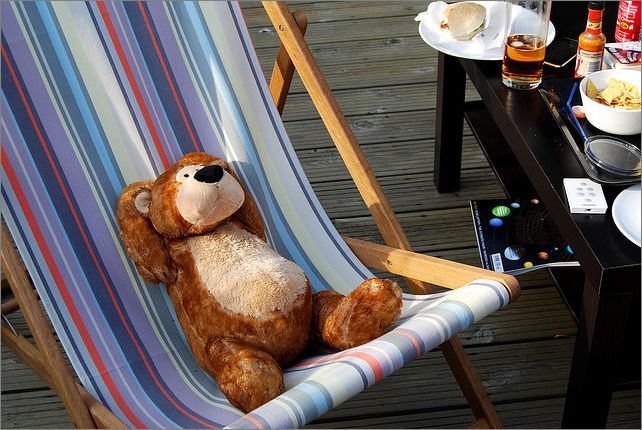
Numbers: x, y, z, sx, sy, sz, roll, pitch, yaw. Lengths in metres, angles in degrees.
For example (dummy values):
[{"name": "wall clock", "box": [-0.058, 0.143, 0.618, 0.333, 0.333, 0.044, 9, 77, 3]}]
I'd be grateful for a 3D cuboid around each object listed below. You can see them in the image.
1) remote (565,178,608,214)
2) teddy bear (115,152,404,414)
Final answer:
[{"name": "remote", "box": [0.705, -0.050, 1.587, 0.095, 0.065, 0.101, -3, 29, 10]}, {"name": "teddy bear", "box": [-0.205, 0.191, 1.872, 0.624, 0.762, 0.754, 1, -13, -4]}]
